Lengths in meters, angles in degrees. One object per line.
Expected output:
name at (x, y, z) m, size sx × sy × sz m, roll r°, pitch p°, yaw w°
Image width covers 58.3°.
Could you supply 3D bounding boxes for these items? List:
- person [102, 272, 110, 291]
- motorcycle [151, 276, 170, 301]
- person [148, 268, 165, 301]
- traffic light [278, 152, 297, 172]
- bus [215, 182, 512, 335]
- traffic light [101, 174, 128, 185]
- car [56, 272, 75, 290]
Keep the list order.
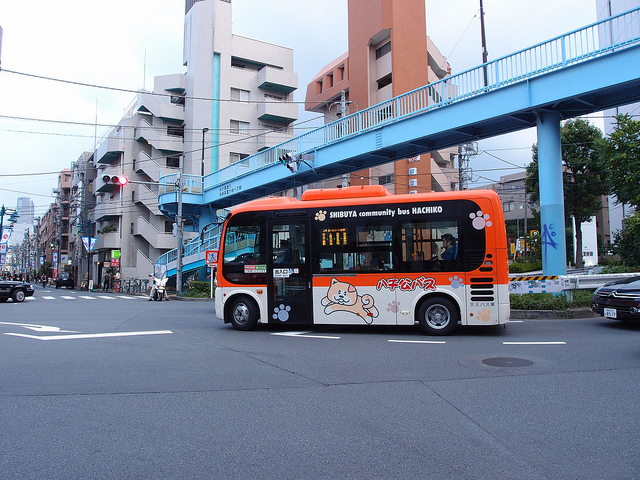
person at (-17.583, 3.370, 46.757) m, size 0.344 × 1.229 × 1.376 m, roll -3°, pitch 7°, yaw -21°
motorcycle at (-8.078, 2.410, 28.385) m, size 0.609 × 1.208 × 0.473 m, roll -1°, pitch 6°, yaw -2°
person at (-8.352, 2.146, 28.948) m, size 0.741 × 1.001 × 1.439 m, roll 4°, pitch -9°, yaw -23°
traffic light at (-1.462, -3.501, 25.870) m, size 0.774 × 0.862 × 1.165 m, roll -1°, pitch 6°, yaw -4°
bus at (1.006, 0.739, 15.972) m, size 8.841 × 4.824 × 3.101 m, roll -1°, pitch -6°, yaw 13°
traffic light at (-8.957, -2.567, 24.481) m, size 0.976 × 0.466 × 1.183 m, roll 0°, pitch 2°, yaw -42°
car at (-24.776, 3.817, 55.053) m, size 1.038 × 1.014 × 1.975 m, roll 1°, pitch 2°, yaw -29°
